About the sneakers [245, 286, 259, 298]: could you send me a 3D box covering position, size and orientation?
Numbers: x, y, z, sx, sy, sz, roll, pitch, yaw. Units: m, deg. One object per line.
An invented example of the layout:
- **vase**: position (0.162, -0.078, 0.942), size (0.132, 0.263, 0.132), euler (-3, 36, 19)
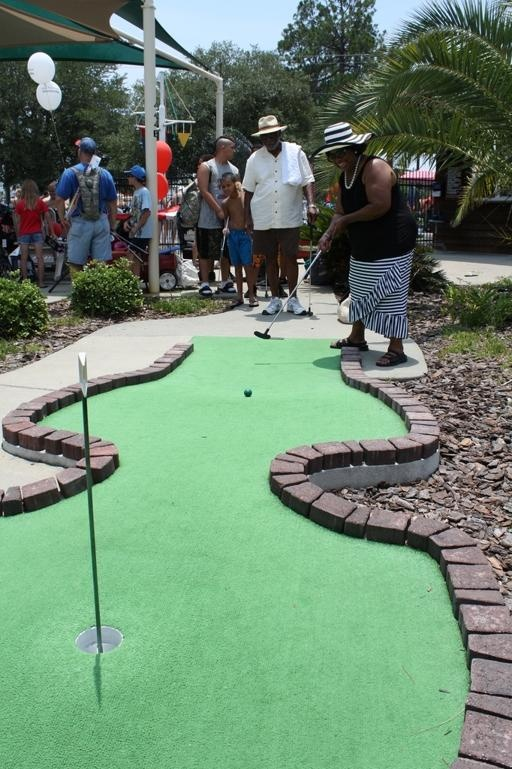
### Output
- **sneakers**: position (-0.073, -1.263, 8.430), size (0.098, 0.196, 0.307), euler (-1, 0, 11)

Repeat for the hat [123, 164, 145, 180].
- **hat**: position (-1.651, -2.942, 8.589), size (0.232, 0.258, 0.829), euler (-4, 15, -11)

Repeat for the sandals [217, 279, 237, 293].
- **sandals**: position (-0.424, -1.424, 9.091), size (0.357, 0.263, 0.126), euler (-5, 55, -10)

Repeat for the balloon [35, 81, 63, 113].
- **balloon**: position (-3.267, -4.585, 9.820), size (0.319, 0.542, 0.710), euler (-6, 15, -18)

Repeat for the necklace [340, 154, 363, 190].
- **necklace**: position (0.729, -1.617, 4.740), size (0.061, 0.239, 0.230), euler (-6, 15, -19)

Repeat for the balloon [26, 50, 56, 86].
- **balloon**: position (-3.299, -4.912, 9.562), size (0.355, 0.476, 0.525), euler (-7, 15, -20)

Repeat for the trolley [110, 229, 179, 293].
- **trolley**: position (-1.700, -1.820, 9.309), size (1.066, 0.584, 0.683), euler (1, 19, -5)

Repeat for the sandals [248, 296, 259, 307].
- **sandals**: position (-0.037, -1.062, 7.881), size (0.146, 0.153, 0.413), euler (-1, 7, 0)

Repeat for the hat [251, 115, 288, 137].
- **hat**: position (0.144, -2.812, 6.722), size (0.248, 0.240, 0.417), euler (-1, 14, 1)

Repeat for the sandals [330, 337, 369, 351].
- **sandals**: position (0.805, -0.349, 5.384), size (0.326, 0.126, 0.124), euler (8, 9, 21)

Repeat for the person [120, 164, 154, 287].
- **person**: position (-1.610, -2.288, 8.605), size (0.349, 1.474, 0.922), euler (-4, 14, -11)

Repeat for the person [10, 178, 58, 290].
- **person**: position (-3.565, -2.444, 10.048), size (0.591, 1.691, 1.243), euler (-6, 15, -18)

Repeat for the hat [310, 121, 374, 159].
- **hat**: position (0.653, -1.882, 4.689), size (0.351, 0.180, 0.427), euler (-15, 23, 20)

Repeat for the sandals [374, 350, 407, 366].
- **sandals**: position (1.064, -0.214, 4.901), size (0.287, 0.108, 0.105), euler (-5, 7, -33)

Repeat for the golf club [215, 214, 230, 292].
- **golf club**: position (-0.451, -1.824, 8.787), size (0.128, 0.996, 0.116), euler (2, 18, -2)

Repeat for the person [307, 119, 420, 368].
- **person**: position (0.861, -1.094, 4.874), size (0.741, 1.831, 0.592), euler (2, 14, 14)

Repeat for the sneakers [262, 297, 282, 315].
- **sneakers**: position (0.188, -0.929, 7.268), size (0.129, 0.195, 0.406), euler (2, 18, 14)

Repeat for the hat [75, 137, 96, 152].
- **hat**: position (-2.001, -2.838, 7.338), size (0.192, 0.208, 0.324), euler (-6, 15, -16)

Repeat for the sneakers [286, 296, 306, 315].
- **sneakers**: position (0.473, -0.929, 7.348), size (0.131, 0.173, 0.391), euler (-6, 9, -15)
